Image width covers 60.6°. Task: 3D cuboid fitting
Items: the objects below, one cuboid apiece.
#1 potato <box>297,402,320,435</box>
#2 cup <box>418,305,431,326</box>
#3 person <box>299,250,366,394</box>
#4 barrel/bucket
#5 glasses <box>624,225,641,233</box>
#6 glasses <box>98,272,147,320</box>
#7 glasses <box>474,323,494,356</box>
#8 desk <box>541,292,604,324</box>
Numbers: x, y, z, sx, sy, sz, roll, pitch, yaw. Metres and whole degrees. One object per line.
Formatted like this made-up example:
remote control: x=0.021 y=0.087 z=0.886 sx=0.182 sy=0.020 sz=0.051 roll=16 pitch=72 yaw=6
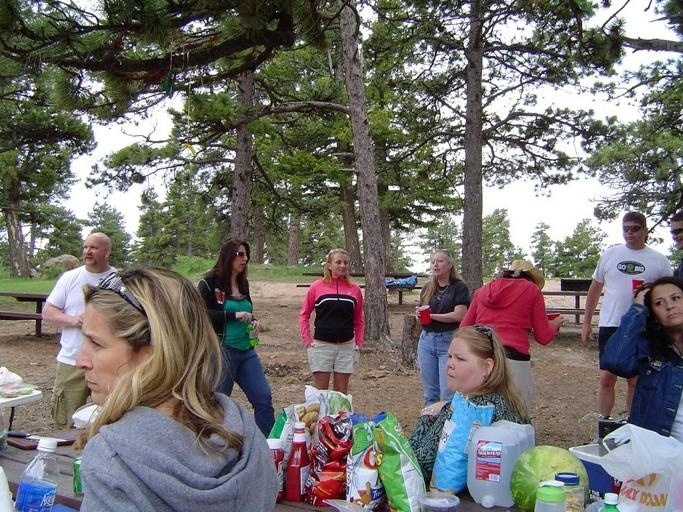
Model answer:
potato: x=-0.177 y=0.896 z=3.216 sx=0.115 sy=0.136 sz=0.054 roll=2 pitch=2 yaw=-12
cup: x=0.826 y=0.588 z=5.728 sx=0.142 sy=0.153 sz=0.165 roll=-3 pitch=0 yaw=10
person: x=-0.101 y=0.683 z=6.140 sx=0.671 sy=1.537 sz=0.520 roll=1 pitch=-3 yaw=1
barrel/bucket: x=0.802 y=0.999 z=2.905 sx=0.332 sy=0.341 sz=0.350 roll=4 pitch=-4 yaw=0
glasses: x=2.814 y=-0.255 z=5.642 sx=0.150 sy=0.069 sz=0.065 roll=0 pitch=-4 yaw=24
glasses: x=-0.769 y=0.129 z=2.145 sx=0.157 sy=0.047 sz=0.160 roll=14 pitch=-29 yaw=53
glasses: x=0.833 y=0.480 z=3.367 sx=0.041 sy=0.137 sz=0.135 roll=3 pitch=0 yaw=-28
desk: x=4.707 y=1.046 z=11.915 sx=0.413 sy=0.395 sz=1.356 roll=-1 pitch=1 yaw=-3
